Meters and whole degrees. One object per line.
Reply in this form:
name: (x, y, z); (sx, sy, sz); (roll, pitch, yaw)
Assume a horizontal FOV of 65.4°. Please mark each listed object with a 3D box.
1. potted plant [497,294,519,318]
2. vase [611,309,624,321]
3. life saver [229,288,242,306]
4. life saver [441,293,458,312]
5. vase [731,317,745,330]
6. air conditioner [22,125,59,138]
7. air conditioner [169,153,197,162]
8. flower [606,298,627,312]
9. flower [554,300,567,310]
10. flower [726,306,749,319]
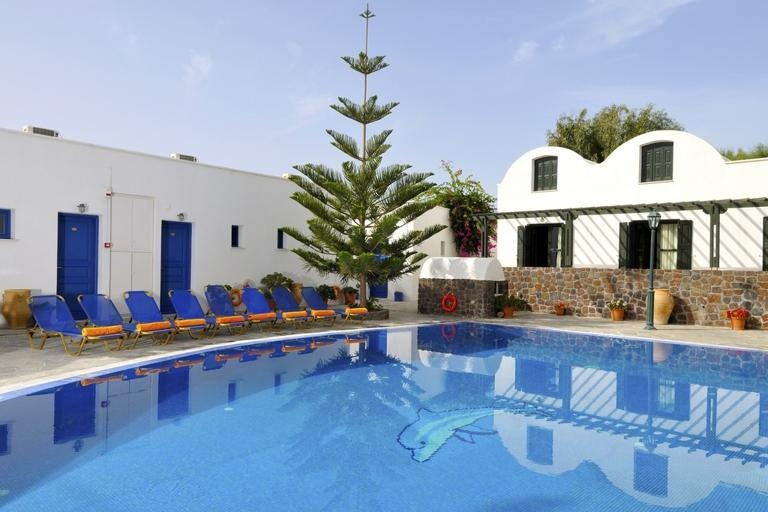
potted plant: (4.171, 1.684, 20.024); (0.632, 0.782, 0.748); (0, -3, 6)
vase: (7.571, 1.910, 19.371); (0.377, 0.294, 0.392); (-1, -2, 11)
life saver: (-4.558, 1.287, 18.404); (0.156, 0.547, 0.532); (-9, 9, 11)
life saver: (2.156, 1.550, 19.793); (0.449, 0.596, 0.176); (-7, -6, 40)
vase: (10.407, 1.992, 17.515); (0.340, 0.273, 0.339); (-1, -1, -30)
air conditioner: (-9.490, -3.433, 16.557); (0.866, 0.365, 0.232); (-3, 1, -32)
air conditioner: (-6.353, -3.095, 18.939); (0.849, 0.321, 0.539); (-3, 1, -26)
flower: (7.575, 1.585, 19.426); (0.405, 0.238, 0.413); (-2, 4, -9)
flower: (6.048, 1.704, 20.474); (0.298, 0.258, 0.305); (2, -5, -38)
flower: (10.390, 1.700, 17.599); (0.412, 0.298, 0.402); (-2, 1, -39)
